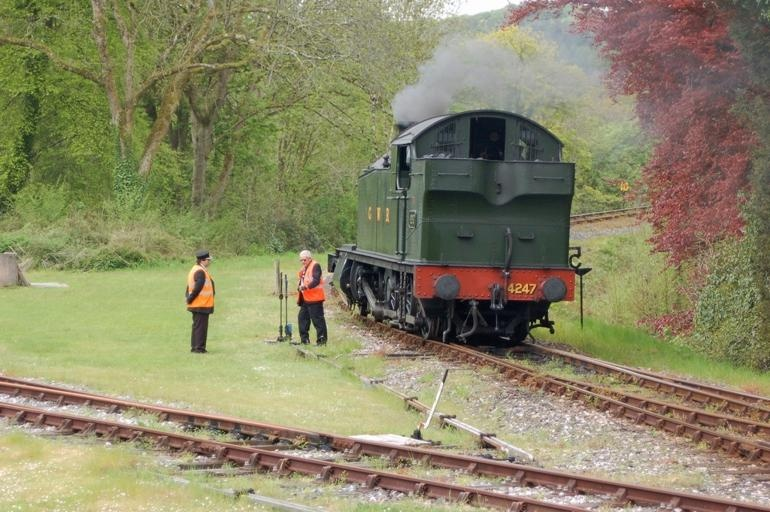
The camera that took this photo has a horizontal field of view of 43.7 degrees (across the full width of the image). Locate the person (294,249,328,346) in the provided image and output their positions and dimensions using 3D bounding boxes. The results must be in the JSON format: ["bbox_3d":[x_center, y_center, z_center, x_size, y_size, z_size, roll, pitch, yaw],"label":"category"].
[{"bbox_3d":[-1.709,0.996,23.080,0.767,2.043,1.107,2,1,-4],"label":"person"}]

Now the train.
[{"bbox_3d":[1.519,-0.675,23.539,3.253,5.229,5.839,2,1,-33],"label":"train"}]

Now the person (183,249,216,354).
[{"bbox_3d":[-4.234,1.030,21.926,0.573,2.019,0.635,2,1,-11],"label":"person"}]
